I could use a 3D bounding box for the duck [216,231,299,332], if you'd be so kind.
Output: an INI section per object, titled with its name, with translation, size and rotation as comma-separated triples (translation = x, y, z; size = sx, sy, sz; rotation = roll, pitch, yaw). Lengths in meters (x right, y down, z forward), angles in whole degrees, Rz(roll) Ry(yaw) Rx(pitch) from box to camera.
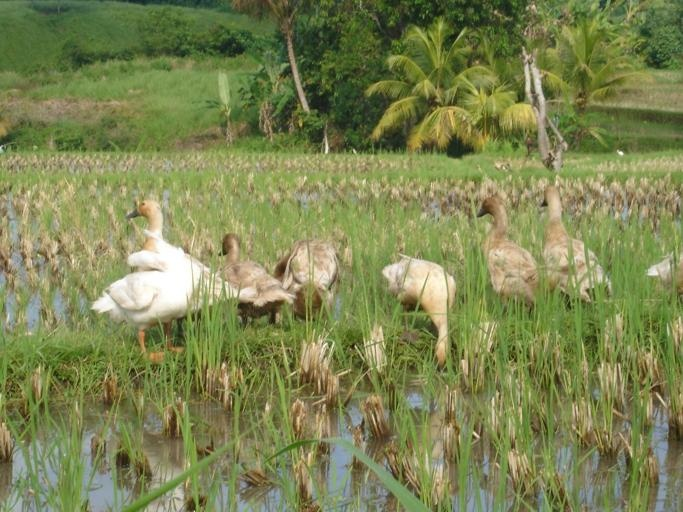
[duck]
translation = -1.157, 0.453, 14.891
size = 0.592, 1.277, 1.710
rotation = -6, 31, -27
